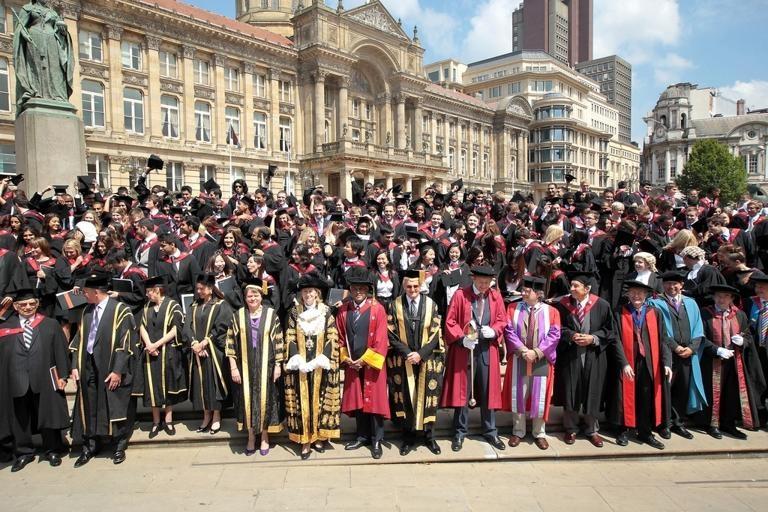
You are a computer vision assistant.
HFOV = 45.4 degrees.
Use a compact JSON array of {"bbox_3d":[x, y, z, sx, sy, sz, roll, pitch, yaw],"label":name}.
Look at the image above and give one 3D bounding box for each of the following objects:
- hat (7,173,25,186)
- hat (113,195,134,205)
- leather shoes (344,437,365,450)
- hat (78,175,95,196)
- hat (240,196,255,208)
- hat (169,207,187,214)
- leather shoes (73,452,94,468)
[{"bbox_3d":[-12.277,-2.567,30.640,0.420,0.324,0.728,1,-3,-22],"label":"hat"},{"bbox_3d":[-8.847,-1.910,31.386,0.366,0.348,0.799,-3,-4,44],"label":"hat"},{"bbox_3d":[-0.845,5.459,26.878,0.595,0.206,0.264,0,8,-10],"label":"leather shoes"},{"bbox_3d":[-10.138,-2.375,31.285,0.414,0.624,0.618,-17,-2,41],"label":"hat"},{"bbox_3d":[-4.549,-1.819,30.847,0.345,0.363,0.289,11,-8,37],"label":"hat"},{"bbox_3d":[-6.826,-1.485,30.399,0.466,0.265,0.654,1,-3,-13],"label":"hat"},{"bbox_3d":[-8.667,5.817,26.446,0.239,0.235,0.634,16,17,20],"label":"leather shoes"}]
